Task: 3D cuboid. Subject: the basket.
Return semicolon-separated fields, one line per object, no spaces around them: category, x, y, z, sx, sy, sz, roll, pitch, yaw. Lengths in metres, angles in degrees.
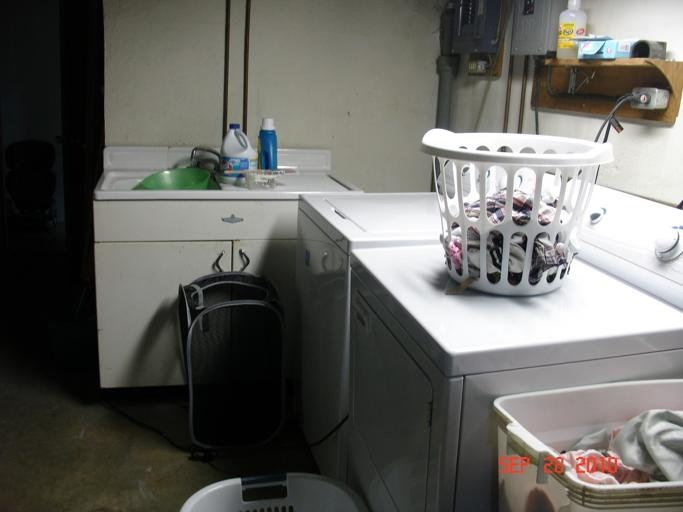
basket;0.458;-0.099;1.627;0.507;0.472;0.534;-8;21;-28

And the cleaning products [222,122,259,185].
cleaning products;-0.540;-0.536;2.886;0.213;0.285;0.151;8;22;17

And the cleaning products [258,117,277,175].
cleaning products;-0.401;-0.593;2.965;0.095;0.289;0.104;-2;30;-9

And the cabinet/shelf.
cabinet/shelf;-0.647;0.179;2.904;0.786;0.834;0.447;0;-15;-27

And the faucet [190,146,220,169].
faucet;-0.769;-0.534;3.060;0.160;0.130;0.340;-6;24;-15

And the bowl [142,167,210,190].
bowl;-0.918;-0.416;3.000;0.264;0.063;0.194;-17;31;-24
